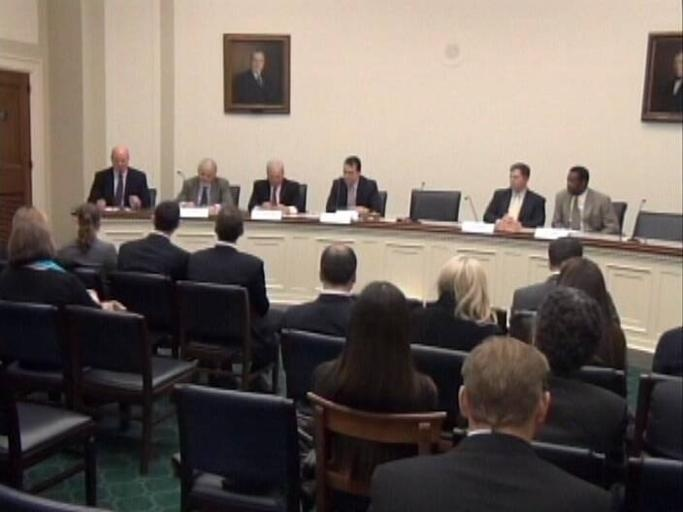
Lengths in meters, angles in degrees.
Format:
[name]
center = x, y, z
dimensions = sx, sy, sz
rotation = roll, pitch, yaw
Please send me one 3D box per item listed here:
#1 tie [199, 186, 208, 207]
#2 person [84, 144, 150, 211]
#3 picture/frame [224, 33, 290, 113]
[tie]
center = -1.549, -0.664, 6.461
dimensions = 0.104, 0.231, 0.063
rotation = 4, 0, 4
[person]
center = -2.433, -0.648, 6.308
dimensions = 0.593, 1.077, 0.529
rotation = -1, 10, -28
[picture/frame]
center = -1.064, -2.429, 7.457
dimensions = 0.869, 1.135, 0.112
rotation = 0, 3, 6
